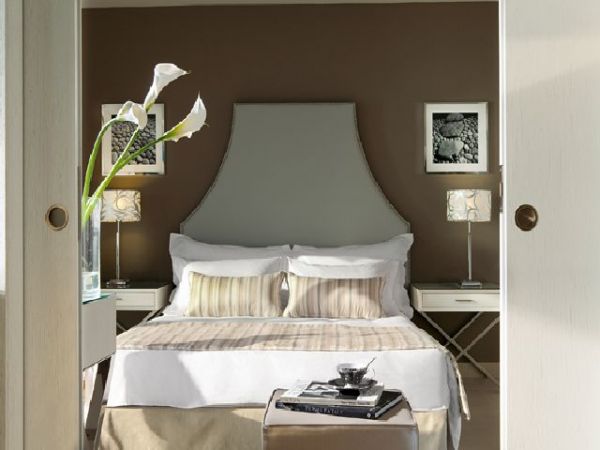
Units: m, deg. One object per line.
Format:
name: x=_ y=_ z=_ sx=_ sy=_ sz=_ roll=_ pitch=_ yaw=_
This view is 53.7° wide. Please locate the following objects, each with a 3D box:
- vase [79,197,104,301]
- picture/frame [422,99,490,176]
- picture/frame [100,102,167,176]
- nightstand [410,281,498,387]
vase: x=-0.877 y=0.107 z=2.478 sx=0.092 sy=0.400 sz=0.059 roll=-3 pitch=5 yaw=-45
picture/frame: x=1.293 y=-0.725 z=4.844 sx=0.519 sy=0.673 sz=0.031 roll=0 pitch=0 yaw=2
picture/frame: x=-1.372 y=-0.710 z=4.899 sx=0.500 sy=0.649 sz=0.043 roll=-5 pitch=38 yaw=-23
nightstand: x=1.255 y=0.859 z=4.708 sx=0.603 sy=0.808 sz=0.606 roll=-1 pitch=0 yaw=8
